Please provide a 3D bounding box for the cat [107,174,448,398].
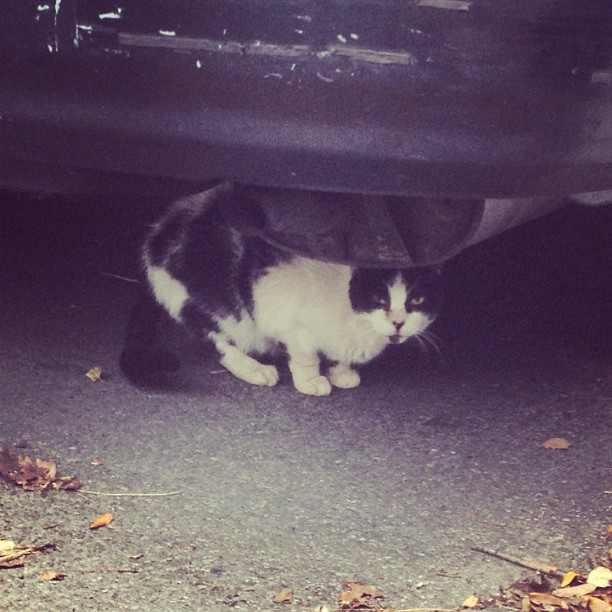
[{"bbox_3d":[-0.151,-0.016,3.860,1.109,0.490,0.818,15,21,25],"label":"cat"}]
